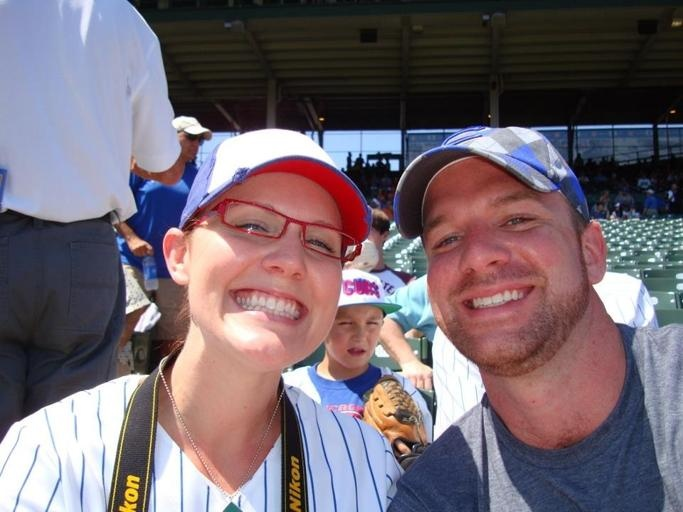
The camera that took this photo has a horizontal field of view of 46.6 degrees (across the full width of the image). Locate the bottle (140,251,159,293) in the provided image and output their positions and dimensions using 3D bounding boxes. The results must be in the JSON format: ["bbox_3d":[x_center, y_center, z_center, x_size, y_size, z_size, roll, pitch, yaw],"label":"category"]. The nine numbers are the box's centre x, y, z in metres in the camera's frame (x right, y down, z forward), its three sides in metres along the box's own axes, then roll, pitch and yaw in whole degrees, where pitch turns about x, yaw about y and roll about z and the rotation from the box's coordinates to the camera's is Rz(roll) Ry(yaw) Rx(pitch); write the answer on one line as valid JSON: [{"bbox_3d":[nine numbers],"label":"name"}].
[{"bbox_3d":[-1.379,0.105,5.638,0.107,0.415,0.121,-8,21,-29],"label":"bottle"}]

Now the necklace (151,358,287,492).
[{"bbox_3d":[-0.488,0.619,3.309,0.362,0.659,0.136,0,-5,-18],"label":"necklace"}]

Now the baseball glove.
[{"bbox_3d":[0.272,0.858,4.070,0.211,0.399,0.202,0,-39,-19],"label":"baseball glove"}]
